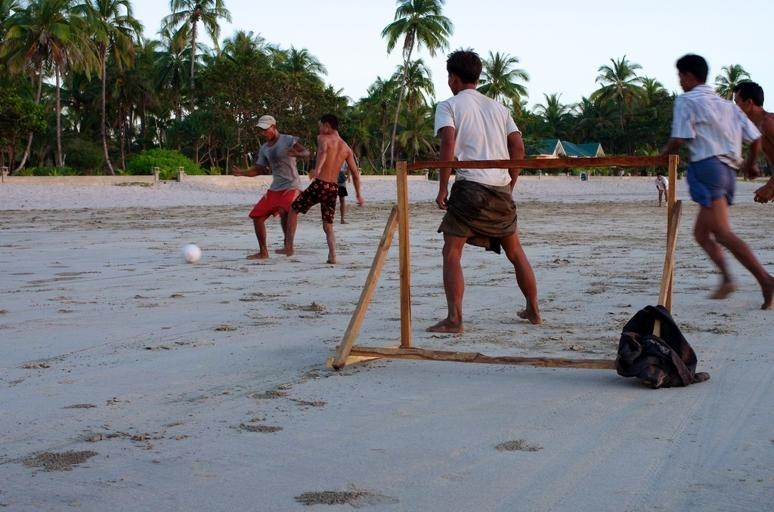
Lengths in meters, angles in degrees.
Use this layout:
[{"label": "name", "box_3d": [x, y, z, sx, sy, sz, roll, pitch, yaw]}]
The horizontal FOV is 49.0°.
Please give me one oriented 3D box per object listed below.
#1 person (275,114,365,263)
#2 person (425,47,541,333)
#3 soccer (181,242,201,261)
[{"label": "person", "box_3d": [-0.818, -0.807, 9.837, 0.998, 1.645, 0.907, 6, 0, 13]}, {"label": "person", "box_3d": [0.709, -0.477, 6.373, 0.766, 2.125, 0.877, 2, 5, 24]}, {"label": "soccer", "box_3d": [-2.234, -0.016, 9.730, 0.173, 0.184, 0.318, -2, 4, -17]}]
